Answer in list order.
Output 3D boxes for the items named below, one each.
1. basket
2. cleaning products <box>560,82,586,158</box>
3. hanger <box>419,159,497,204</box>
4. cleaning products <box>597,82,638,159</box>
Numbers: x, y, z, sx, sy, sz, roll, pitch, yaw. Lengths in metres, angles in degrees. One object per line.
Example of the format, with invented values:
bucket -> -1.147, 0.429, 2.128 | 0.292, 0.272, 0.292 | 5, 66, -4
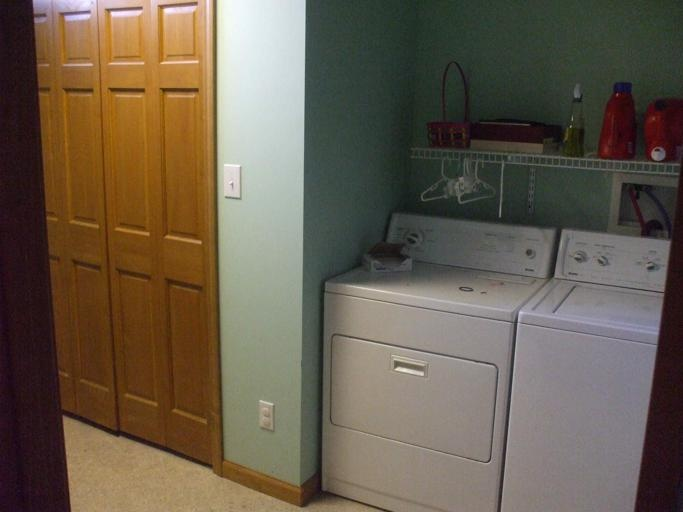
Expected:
basket -> 0.479, -0.661, 2.458 | 0.181, 0.379, 0.283 | 3, 12, 12
cleaning products -> 0.925, -0.535, 2.226 | 0.088, 0.278, 0.246 | 6, 13, 23
hanger -> 0.534, -0.308, 2.550 | 0.202, 0.134, 0.237 | -6, 10, -34
cleaning products -> 1.033, -0.496, 2.084 | 0.131, 0.276, 0.088 | 4, 11, 16
